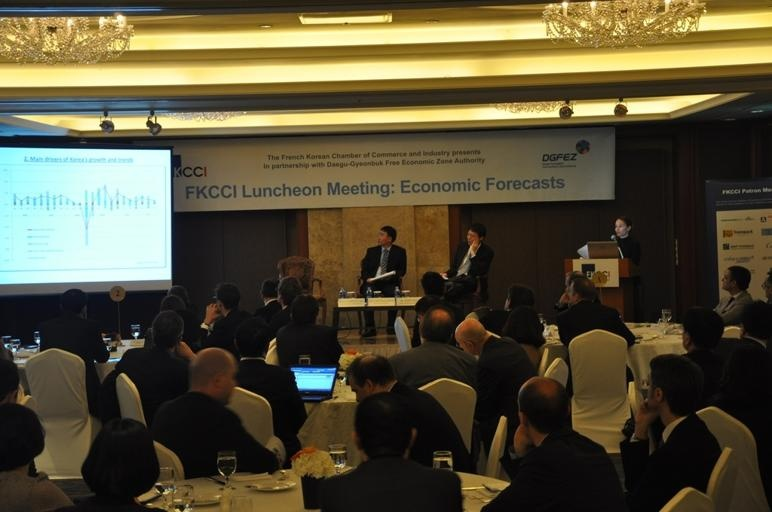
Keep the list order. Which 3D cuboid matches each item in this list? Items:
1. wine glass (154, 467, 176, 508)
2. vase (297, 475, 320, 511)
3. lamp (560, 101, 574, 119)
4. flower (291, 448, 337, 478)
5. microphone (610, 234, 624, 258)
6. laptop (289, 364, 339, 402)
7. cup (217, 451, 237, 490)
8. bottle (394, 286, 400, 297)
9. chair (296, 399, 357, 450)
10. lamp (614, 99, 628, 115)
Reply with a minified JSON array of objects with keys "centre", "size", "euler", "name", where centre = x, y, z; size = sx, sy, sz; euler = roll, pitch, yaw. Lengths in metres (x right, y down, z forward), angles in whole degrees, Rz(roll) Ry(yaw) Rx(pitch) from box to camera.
[{"centre":[-1.351,1.450,4.499],"size":[0.090,0.237,0.222],"euler":[0,-1,-41],"name":"wine glass"},{"centre":[-0.467,1.477,4.500],"size":[0.162,0.226,0.074],"euler":[-1,-1,38],"name":"vase"},{"centre":[2.793,-2.258,11.076],"size":[0.119,0.275,0.312],"euler":[-2,7,8],"name":"lamp"},{"centre":[-0.455,1.270,4.509],"size":[0.202,0.150,0.177],"euler":[2,-9,27],"name":"flower"},{"centre":[3.355,-0.150,10.442],"size":[0.105,0.370,0.080],"euler":[-27,7,-37],"name":"microphone"},{"centre":[-0.611,1.102,6.435],"size":[0.343,0.227,0.308],"euler":[0,-5,0],"name":"laptop"},{"centre":[-1.049,1.397,4.769],"size":[0.132,0.246,0.271],"euler":[0,-1,-12],"name":"cup"},{"centre":[0.179,0.513,10.482],"size":[0.094,0.176,0.097],"euler":[-1,1,0],"name":"bottle"},{"centre":[-0.517,1.492,6.365],"size":[0.507,0.454,0.206],"euler":[0,-1,-2],"name":"chair"},{"centre":[3.583,-2.305,11.030],"size":[0.164,0.275,0.409],"euler":[0,-1,18],"name":"lamp"}]
